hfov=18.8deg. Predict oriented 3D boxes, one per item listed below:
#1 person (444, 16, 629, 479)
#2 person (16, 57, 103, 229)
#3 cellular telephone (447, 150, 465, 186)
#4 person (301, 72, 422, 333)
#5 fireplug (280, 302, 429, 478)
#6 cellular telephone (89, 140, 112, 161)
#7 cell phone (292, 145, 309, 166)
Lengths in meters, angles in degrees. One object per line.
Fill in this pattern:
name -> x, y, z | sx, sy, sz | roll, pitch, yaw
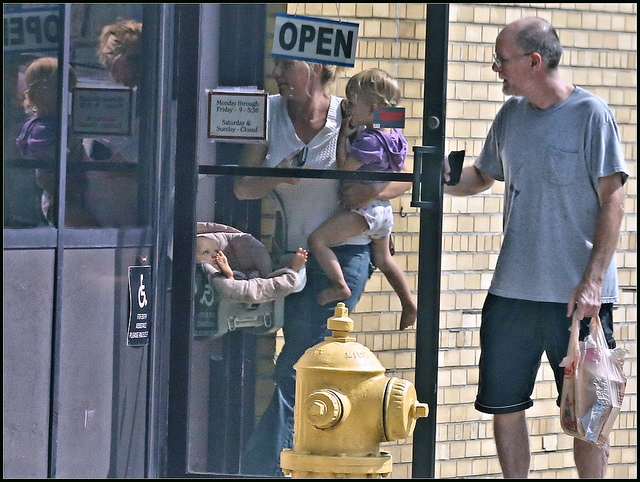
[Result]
person -> 1.127, 0.040, 9.639 | 0.841, 2.307, 0.367 | 1, -2, 21
person -> -1.247, -0.469, 9.244 | 0.111, 0.816, 0.480 | 0, -2, 37
cellular telephone -> 0.682, -0.375, 9.741 | 0.081, 0.178, 0.179 | 1, -2, 3
person -> 0.214, -0.201, 9.665 | 0.604, 1.290, 0.142 | 2, -2, 0
fireplug -> 0.107, 0.666, 9.308 | 0.714, 1.008, 0.821 | -1, 0, 13
cellular telephone -> -1.078, -0.449, 9.425 | 0.125, 0.100, 0.003 | 3, -2, -41
cell phone -> -0.104, -0.434, 9.668 | 0.068, 0.101, 0.031 | -6, 7, 4
